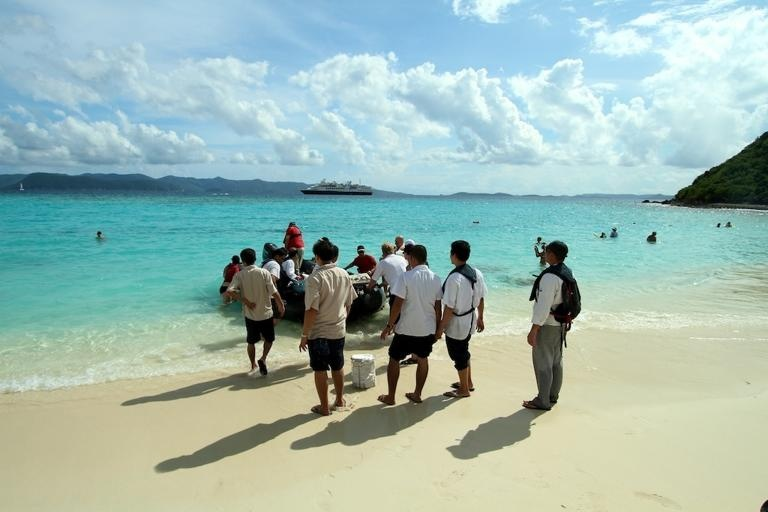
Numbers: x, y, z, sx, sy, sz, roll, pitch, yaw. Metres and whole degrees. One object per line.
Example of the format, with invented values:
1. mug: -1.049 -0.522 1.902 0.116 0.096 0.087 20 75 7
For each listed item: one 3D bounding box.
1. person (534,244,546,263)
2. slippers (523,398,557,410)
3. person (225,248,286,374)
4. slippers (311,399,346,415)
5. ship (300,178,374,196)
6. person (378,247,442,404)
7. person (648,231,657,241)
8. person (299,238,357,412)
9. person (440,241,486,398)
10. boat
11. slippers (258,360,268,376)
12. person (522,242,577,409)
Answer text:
1. person: 6.598 -0.118 19.750 0.716 0.911 0.359 -7 8 -38
2. slippers: 2.727 2.573 8.251 0.613 0.208 0.214 0 -1 16
3. person: -2.535 1.097 9.420 1.002 2.555 0.979 -5 9 -14
4. slippers: -0.900 2.636 8.185 0.739 0.261 0.246 2 -5 13
5. ship: -15.088 -22.300 155.967 20.375 4.709 11.470 -5 8 -19
6. person: 0.486 1.203 8.224 1.126 2.788 0.505 -2 9 5
7. person: 16.680 -1.213 29.126 0.471 0.742 2.019 2 9 28
8. person: -0.976 1.228 8.020 0.605 2.994 0.902 2 10 29
9. person: 1.426 1.130 8.315 0.714 2.854 0.935 1 9 24
10. boat: -1.436 0.851 12.198 2.546 0.799 1.843 6 7 35
11. slippers: -2.445 2.246 9.516 0.173 0.309 0.120 -3 4 0
12. person: 2.810 1.214 7.875 0.856 2.913 0.417 -3 9 -1
